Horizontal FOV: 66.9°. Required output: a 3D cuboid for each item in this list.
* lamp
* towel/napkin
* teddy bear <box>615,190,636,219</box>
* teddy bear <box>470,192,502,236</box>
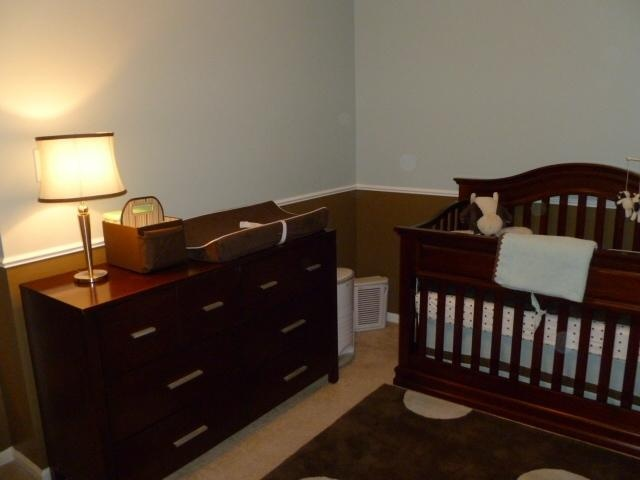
[{"bbox_3d":[-1.054,-0.134,2.107,0.390,0.640,0.246,-1,14,21],"label":"lamp"},{"bbox_3d":[1.125,0.126,2.431,0.460,0.312,0.112,2,15,30],"label":"towel/napkin"},{"bbox_3d":[1.787,-0.213,2.812,0.100,0.155,0.159,-8,16,16],"label":"teddy bear"},{"bbox_3d":[0.995,-0.154,2.915,0.101,0.273,0.194,-15,-39,41],"label":"teddy bear"}]
